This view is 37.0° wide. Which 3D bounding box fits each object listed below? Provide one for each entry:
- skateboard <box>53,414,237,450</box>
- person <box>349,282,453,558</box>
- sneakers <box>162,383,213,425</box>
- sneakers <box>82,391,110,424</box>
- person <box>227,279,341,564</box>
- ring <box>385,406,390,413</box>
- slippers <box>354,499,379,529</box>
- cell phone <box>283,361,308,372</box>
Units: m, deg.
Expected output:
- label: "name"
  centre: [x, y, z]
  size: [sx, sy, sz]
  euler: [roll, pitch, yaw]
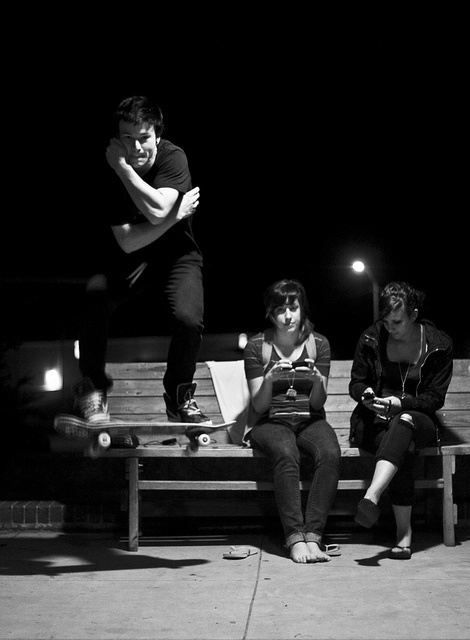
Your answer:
- label: "skateboard"
  centre: [-0.389, 0.528, 3.324]
  size: [0.798, 0.162, 0.266]
  euler: [1, -28, -7]
- label: "person"
  centre: [0.840, 0.443, 3.413]
  size: [0.482, 1.278, 0.597]
  euler: [0, 0, -4]
- label: "sneakers"
  centre: [-0.228, 0.379, 3.200]
  size: [0.106, 0.243, 0.319]
  euler: [0, -1, -44]
- label: "sneakers"
  centre: [-0.612, 0.379, 3.076]
  size: [0.113, 0.138, 0.126]
  euler: [-1, 0, -32]
- label: "person"
  centre: [0.271, 0.429, 3.343]
  size: [0.445, 1.208, 0.656]
  euler: [1, 0, 0]
- label: "ring"
  centre: [0.735, 0.422, 3.354]
  size: [0.019, 0.027, 0.024]
  euler: [0, 0, 44]
- label: "slippers"
  centre: [0.566, 0.824, 3.017]
  size: [0.085, 0.146, 0.049]
  euler: [28, 16, 11]
- label: "cell phone"
  centre: [0.288, 0.218, 3.322]
  size: [0.128, 0.046, 0.112]
  euler: [1, -1, 0]
